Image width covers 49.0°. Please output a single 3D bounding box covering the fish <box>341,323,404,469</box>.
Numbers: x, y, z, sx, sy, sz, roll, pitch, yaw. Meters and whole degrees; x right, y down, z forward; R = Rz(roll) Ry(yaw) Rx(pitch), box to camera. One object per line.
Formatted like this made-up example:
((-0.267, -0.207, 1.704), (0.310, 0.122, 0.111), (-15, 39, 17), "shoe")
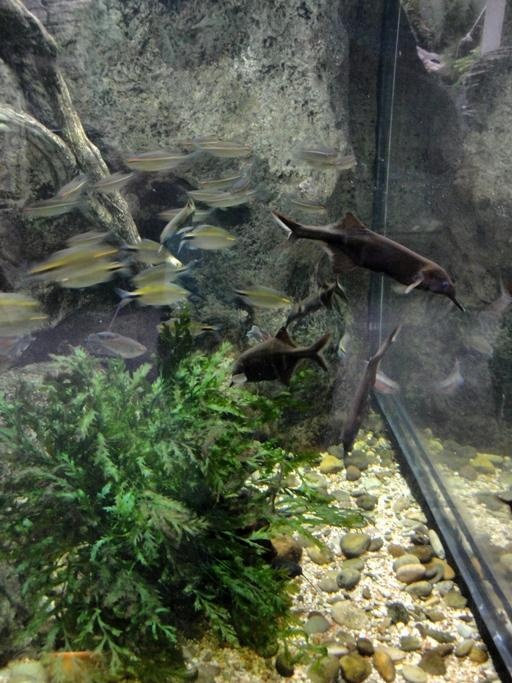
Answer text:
((0.707, 0.367, 3.410), (0.142, 0.918, 0.106), (33, -3, -37), "fish")
